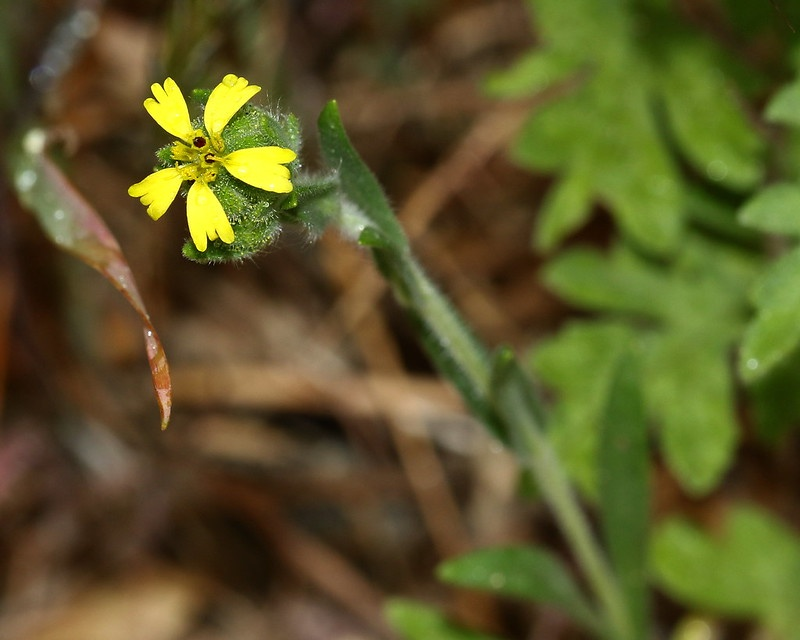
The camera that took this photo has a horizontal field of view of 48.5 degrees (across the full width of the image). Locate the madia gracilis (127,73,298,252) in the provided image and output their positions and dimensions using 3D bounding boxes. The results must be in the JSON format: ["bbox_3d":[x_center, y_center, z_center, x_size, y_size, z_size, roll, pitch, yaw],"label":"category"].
[{"bbox_3d":[-0.450,-0.420,2.242,0.399,0.126,0.464,27,96,19],"label":"madia gracilis"}]
